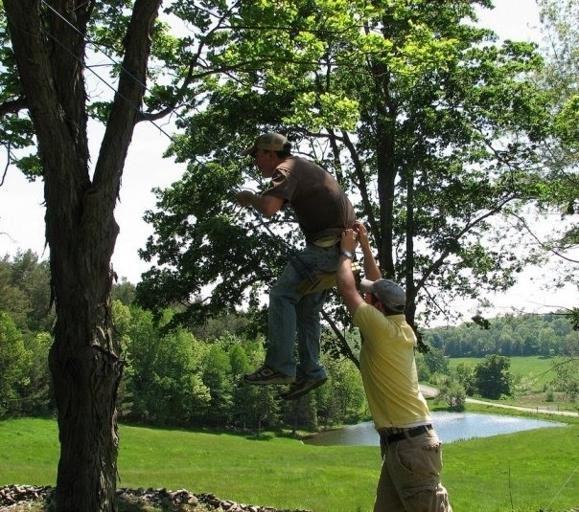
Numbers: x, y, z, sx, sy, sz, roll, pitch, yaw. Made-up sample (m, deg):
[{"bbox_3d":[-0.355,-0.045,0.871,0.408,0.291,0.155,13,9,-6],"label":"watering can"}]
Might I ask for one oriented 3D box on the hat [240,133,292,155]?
[{"bbox_3d":[-0.309,-1.579,10.239,0.499,0.258,0.299,-4,7,7],"label":"hat"}]
